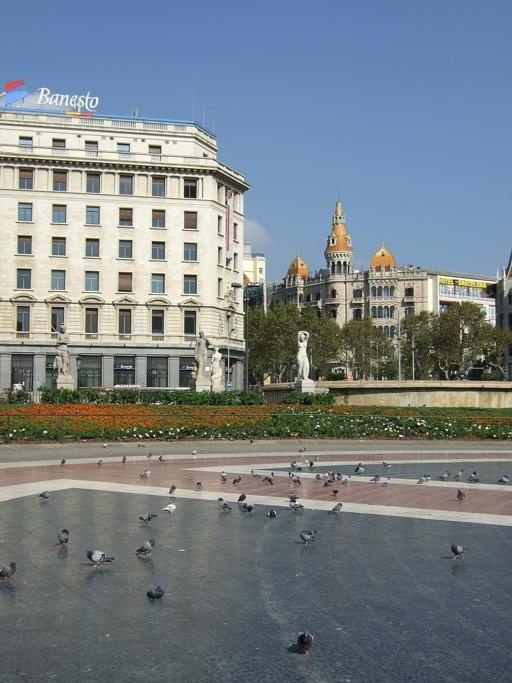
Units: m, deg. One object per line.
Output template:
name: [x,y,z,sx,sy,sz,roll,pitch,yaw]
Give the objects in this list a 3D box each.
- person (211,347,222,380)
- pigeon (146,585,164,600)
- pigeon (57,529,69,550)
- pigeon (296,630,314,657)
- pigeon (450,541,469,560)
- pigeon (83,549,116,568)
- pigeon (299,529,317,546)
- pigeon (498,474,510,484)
person: [-1.629,0.888,46.561,0.365,1.287,1.349,2,0,-3]
pigeon: [-1.025,2.542,11.577,0.104,0.102,0.142,3,-13,-19]
pigeon: [-2.307,2.372,13.708,0.104,0.316,0.141,-1,5,-9]
pigeon: [0.428,2.641,10.014,0.063,0.206,0.142,-3,9,-39]
pigeon: [2.317,2.436,13.330,0.133,0.191,0.315,2,-1,-23]
pigeon: [-1.658,2.387,12.552,0.370,0.189,0.242,16,-4,-31]
pigeon: [0.595,2.400,14.004,0.221,0.165,0.137,-7,-3,34]
pigeon: [4.492,2.526,20.909,0.221,0.149,0.115,3,0,45]
